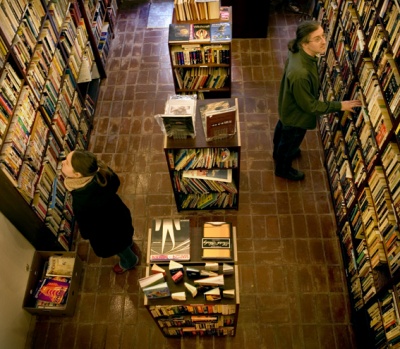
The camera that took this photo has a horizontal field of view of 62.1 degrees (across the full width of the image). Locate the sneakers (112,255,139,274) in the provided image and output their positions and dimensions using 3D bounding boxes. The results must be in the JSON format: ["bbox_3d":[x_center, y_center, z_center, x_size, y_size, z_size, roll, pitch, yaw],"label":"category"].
[{"bbox_3d":[-0.900,1.096,4.050,0.236,0.232,0.114,-33,79,9],"label":"sneakers"}]

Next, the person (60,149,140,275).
[{"bbox_3d":[-1.131,0.502,3.682,0.512,1.387,0.534,5,65,4],"label":"person"}]

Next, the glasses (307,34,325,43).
[{"bbox_3d":[1.195,-1.386,3.388,0.108,0.037,0.114,-16,24,-21],"label":"glasses"}]

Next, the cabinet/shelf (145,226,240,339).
[{"bbox_3d":[-0.004,1.058,3.284,0.995,1.486,1.092,3,79,3],"label":"cabinet/shelf"}]

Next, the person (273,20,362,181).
[{"bbox_3d":[1.373,-0.850,4.144,0.757,2.240,0.831,6,56,16],"label":"person"}]
